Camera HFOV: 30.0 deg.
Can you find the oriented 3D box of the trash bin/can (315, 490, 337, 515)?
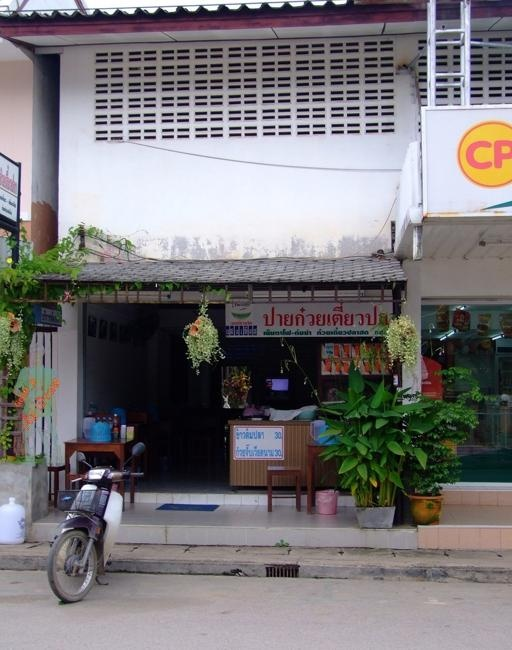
[{"bbox_3d":[0.898,2.227,12.231,0.257,0.258,0.288,-3,-14,9],"label":"trash bin/can"}]

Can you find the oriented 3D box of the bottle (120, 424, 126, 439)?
[{"bbox_3d":[-1.891,1.485,13.581,0.090,0.174,0.162,0,-4,-9],"label":"bottle"}]

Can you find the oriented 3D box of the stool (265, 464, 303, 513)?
[{"bbox_3d":[0.381,2.119,12.690,0.505,0.574,0.526,0,-7,6],"label":"stool"}]

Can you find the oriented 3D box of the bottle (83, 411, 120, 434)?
[{"bbox_3d":[-2.204,1.357,13.835,0.552,0.320,0.384,-2,-2,14],"label":"bottle"}]

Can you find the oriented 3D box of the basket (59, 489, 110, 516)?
[{"bbox_3d":[-1.758,1.712,9.524,0.330,0.161,0.266,-5,-2,42],"label":"basket"}]

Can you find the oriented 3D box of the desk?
[{"bbox_3d":[-2.215,1.899,13.222,0.870,0.790,0.782,2,1,3],"label":"desk"}]

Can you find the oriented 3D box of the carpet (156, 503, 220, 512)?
[{"bbox_3d":[-0.903,2.390,12.768,0.775,0.036,0.744,0,-5,0],"label":"carpet"}]
